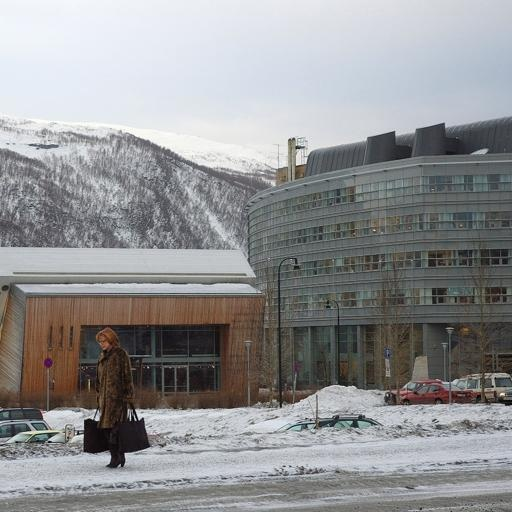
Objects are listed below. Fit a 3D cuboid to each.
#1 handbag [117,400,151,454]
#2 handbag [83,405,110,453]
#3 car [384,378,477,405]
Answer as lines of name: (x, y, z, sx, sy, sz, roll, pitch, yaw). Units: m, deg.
handbag: (-2.030, 2.888, 16.440, 0.483, 0.770, 0.755, 0, -11, -8)
handbag: (-2.684, 2.991, 16.634, 0.412, 0.650, 0.475, 1, -10, -10)
car: (7.604, 6.105, 44.111, 2.893, 1.291, 4.095, 8, -15, -39)
